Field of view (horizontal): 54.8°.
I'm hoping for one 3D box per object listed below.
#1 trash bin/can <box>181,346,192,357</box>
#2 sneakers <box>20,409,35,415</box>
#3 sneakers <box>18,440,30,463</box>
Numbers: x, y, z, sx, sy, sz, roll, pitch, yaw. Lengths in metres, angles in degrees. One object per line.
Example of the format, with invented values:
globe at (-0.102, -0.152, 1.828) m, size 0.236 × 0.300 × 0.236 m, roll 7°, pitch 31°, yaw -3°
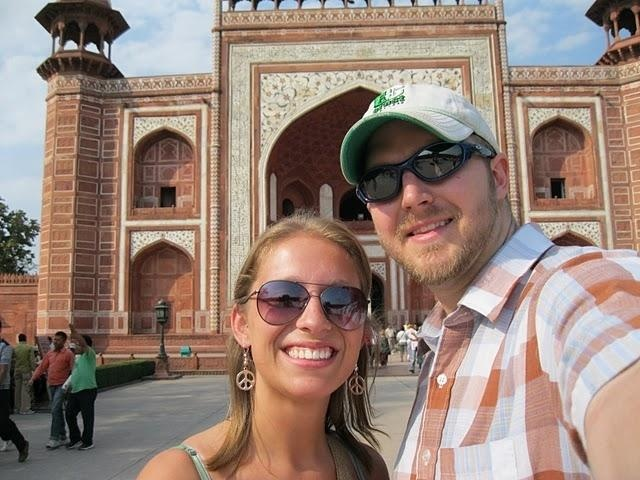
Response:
trash bin/can at (-3.343, 2.805, 15.480) m, size 0.240 × 0.372 × 0.364 m, roll -4°, pitch -22°, yaw -4°
sneakers at (-4.350, 2.582, 9.234) m, size 0.205 × 0.099 × 0.085 m, roll -2°, pitch -8°, yaw 15°
sneakers at (-2.910, 2.074, 6.062) m, size 0.088 × 0.234 × 0.104 m, roll 0°, pitch 5°, yaw -4°
